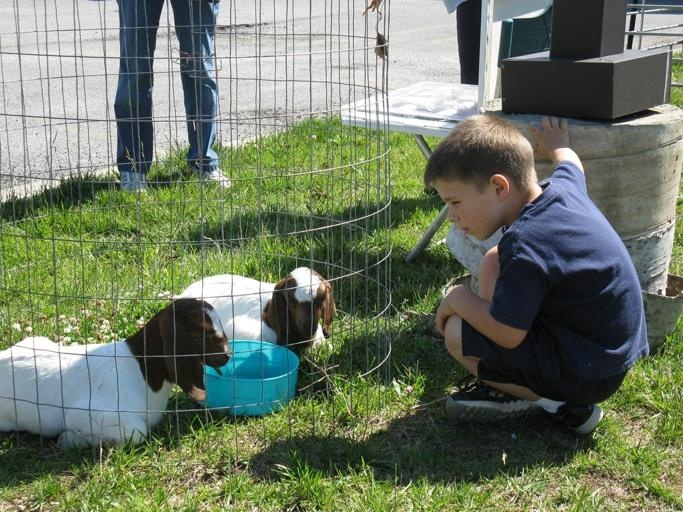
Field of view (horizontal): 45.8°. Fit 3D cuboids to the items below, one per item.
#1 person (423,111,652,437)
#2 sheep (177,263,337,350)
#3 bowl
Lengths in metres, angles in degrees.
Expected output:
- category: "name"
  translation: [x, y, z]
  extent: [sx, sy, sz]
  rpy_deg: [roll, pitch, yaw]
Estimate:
- category: "person"
  translation: [0.890, 0.096, 3.904]
  extent: [0.904, 1.576, 1.145]
  rpy_deg: [-9, 16, -8]
- category: "sheep"
  translation: [-0.467, 0.279, 4.308]
  extent: [0.865, 0.457, 0.515]
  rpy_deg: [7, 13, 27]
- category: "bowl"
  translation: [-0.412, 0.608, 3.999]
  extent: [0.378, 0.136, 0.367]
  rpy_deg: [2, 17, -1]
